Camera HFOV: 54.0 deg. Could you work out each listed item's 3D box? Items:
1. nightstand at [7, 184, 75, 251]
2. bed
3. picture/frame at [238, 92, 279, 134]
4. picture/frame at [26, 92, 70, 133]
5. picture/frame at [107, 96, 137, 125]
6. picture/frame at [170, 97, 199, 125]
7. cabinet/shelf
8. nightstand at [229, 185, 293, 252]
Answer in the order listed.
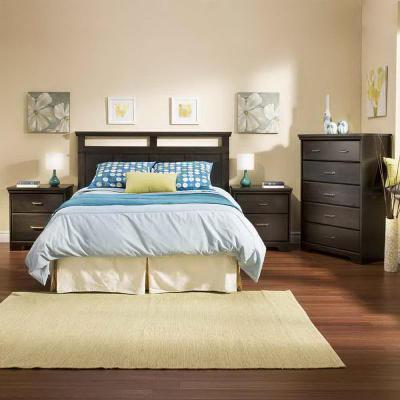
[{"bbox_3d":[-1.870,0.177,4.499,0.599,0.704,0.495,-1,10,-29],"label":"nightstand"},{"bbox_3d":[-0.483,-0.069,3.694,1.842,1.294,2.112,0,5,-2],"label":"bed"},{"bbox_3d":[0.683,-1.059,4.672,0.499,0.436,0.031,1,2,-2],"label":"picture/frame"},{"bbox_3d":[-1.784,-1.036,4.580,0.504,0.453,0.022,-1,9,-1],"label":"picture/frame"},{"bbox_3d":[-0.919,-1.062,4.605,0.347,0.314,0.026,0,1,-4],"label":"picture/frame"},{"bbox_3d":[-0.187,-1.063,4.636,0.335,0.279,0.036,0,2,-3],"label":"picture/frame"},{"bbox_3d":[1.455,-0.052,4.054,0.385,1.239,0.816,-3,7,-33],"label":"cabinet/shelf"},{"bbox_3d":[0.738,0.181,4.556,0.661,0.695,0.434,1,16,19],"label":"nightstand"}]
